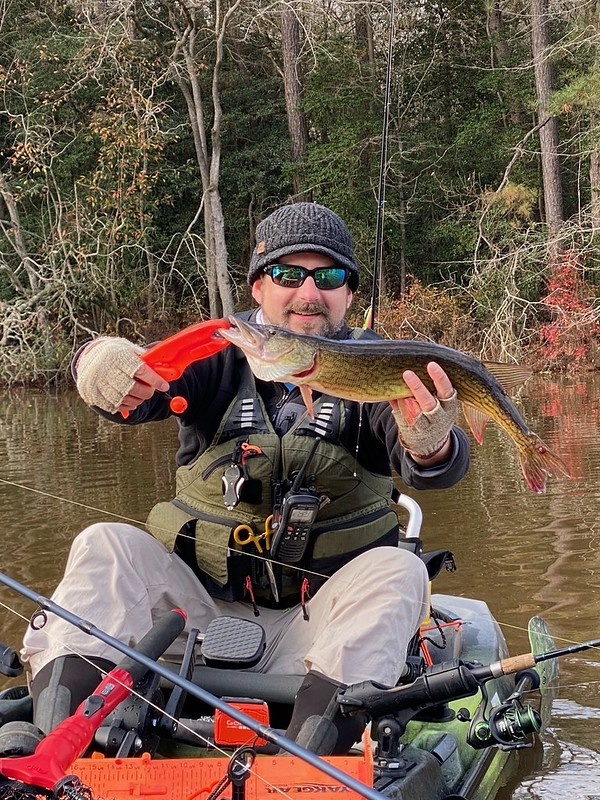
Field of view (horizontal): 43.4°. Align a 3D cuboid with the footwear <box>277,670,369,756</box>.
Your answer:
[{"bbox_3d":[0.069,0.684,1.687,0.161,0.158,0.185,-6,-4,-24],"label":"footwear"}]

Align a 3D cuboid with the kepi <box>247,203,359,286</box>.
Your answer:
[{"bbox_3d":[0.014,-0.508,2.417,0.357,0.214,0.394,-1,3,1],"label":"kepi"}]

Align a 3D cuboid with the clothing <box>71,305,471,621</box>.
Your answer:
[{"bbox_3d":[-0.124,0.212,2.204,1.307,0.727,0.678,0,3,5],"label":"clothing"}]

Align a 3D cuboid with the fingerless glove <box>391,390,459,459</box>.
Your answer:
[{"bbox_3d":[0.313,0.058,1.752,0.154,0.114,0.168,-5,10,-13],"label":"fingerless glove"}]

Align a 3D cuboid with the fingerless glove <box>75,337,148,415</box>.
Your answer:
[{"bbox_3d":[-0.461,-0.079,1.915,0.150,0.077,0.184,-5,-26,14],"label":"fingerless glove"}]
